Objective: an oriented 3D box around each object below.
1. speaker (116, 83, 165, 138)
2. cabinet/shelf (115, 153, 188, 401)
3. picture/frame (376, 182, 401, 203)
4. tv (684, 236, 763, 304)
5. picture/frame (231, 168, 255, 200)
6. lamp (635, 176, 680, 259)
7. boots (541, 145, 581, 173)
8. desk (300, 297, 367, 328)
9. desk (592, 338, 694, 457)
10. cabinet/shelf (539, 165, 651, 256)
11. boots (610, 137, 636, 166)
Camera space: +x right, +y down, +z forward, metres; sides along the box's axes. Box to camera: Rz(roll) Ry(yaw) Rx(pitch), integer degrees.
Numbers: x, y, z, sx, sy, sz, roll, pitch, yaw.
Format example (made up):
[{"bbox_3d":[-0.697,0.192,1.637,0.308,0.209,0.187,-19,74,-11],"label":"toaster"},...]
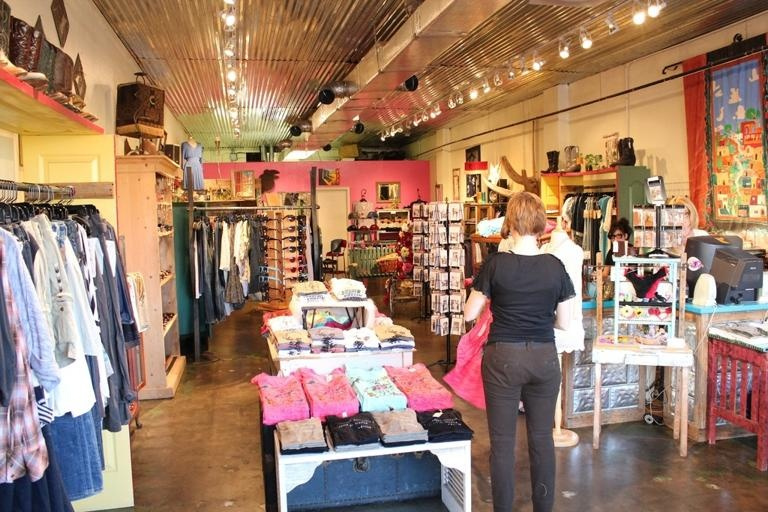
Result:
[{"bbox_3d":[-3.344,-2.018,7.536,0.585,0.704,0.297,-3,3,-29],"label":"speaker"},{"bbox_3d":[-3.073,0.261,7.515,0.569,3.140,2.159,-1,3,-5],"label":"cabinet/shelf"},{"bbox_3d":[0.139,-2.137,18.373,0.729,0.666,0.054,-1,1,0],"label":"picture/frame"},{"bbox_3d":[3.786,0.139,5.962,0.609,0.805,0.835,1,-3,-15],"label":"tv"},{"bbox_3d":[-3.975,-2.060,15.495,0.634,0.967,2.083,-2,3,-16],"label":"picture/frame"},{"bbox_3d":[2.938,-0.426,5.764,0.476,0.792,0.979,0,3,29],"label":"lamp"},{"bbox_3d":[3.530,-1.900,10.800,0.606,0.646,0.739,-1,-4,20],"label":"boots"},{"bbox_3d":[-0.536,0.644,6.016,0.719,0.336,0.391,-2,3,-10],"label":"desk"},{"bbox_3d":[2.608,1.411,5.742,0.959,0.980,0.807,0,-1,9],"label":"desk"},{"bbox_3d":[3.291,-0.716,8.354,0.565,1.427,1.729,-1,3,-15],"label":"cabinet/shelf"},{"bbox_3d":[4.111,-1.781,9.348,0.490,0.454,0.401,1,1,-10],"label":"boots"}]
